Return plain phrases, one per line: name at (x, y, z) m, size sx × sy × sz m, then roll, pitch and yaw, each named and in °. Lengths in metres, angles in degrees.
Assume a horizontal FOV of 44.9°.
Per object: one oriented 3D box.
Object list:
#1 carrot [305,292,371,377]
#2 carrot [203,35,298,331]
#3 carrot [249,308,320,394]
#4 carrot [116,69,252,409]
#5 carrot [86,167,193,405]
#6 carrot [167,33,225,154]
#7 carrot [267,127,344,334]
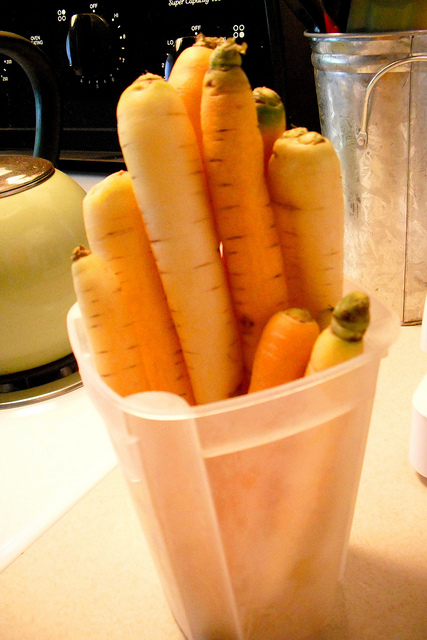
carrot at (0.057, 0.009, 0.257) m, size 0.016 × 0.052 × 0.015 m, roll 11°, pitch 41°, yaw -13°
carrot at (0.024, -0.061, 0.317) m, size 0.042 × 0.192 × 0.050 m, roll -11°, pitch 14°, yaw -4°
carrot at (0.037, 0.029, 0.285) m, size 0.022 × 0.020 × 0.045 m, roll 19°, pitch -30°, yaw -28°
carrot at (-0.016, -0.047, 0.285) m, size 0.037 × 0.200 × 0.048 m, roll -16°, pitch 19°, yaw -22°
carrot at (-0.026, -0.007, 0.347) m, size 0.044 × 0.190 × 0.049 m, roll -12°, pitch 14°, yaw 11°
carrot at (-0.015, -0.128, 0.320) m, size 0.035 × 0.072 × 0.041 m, roll 0°, pitch 9°, yaw -28°
carrot at (0.059, -0.055, 0.323) m, size 0.039 × 0.139 × 0.037 m, roll -8°, pitch 49°, yaw 4°
